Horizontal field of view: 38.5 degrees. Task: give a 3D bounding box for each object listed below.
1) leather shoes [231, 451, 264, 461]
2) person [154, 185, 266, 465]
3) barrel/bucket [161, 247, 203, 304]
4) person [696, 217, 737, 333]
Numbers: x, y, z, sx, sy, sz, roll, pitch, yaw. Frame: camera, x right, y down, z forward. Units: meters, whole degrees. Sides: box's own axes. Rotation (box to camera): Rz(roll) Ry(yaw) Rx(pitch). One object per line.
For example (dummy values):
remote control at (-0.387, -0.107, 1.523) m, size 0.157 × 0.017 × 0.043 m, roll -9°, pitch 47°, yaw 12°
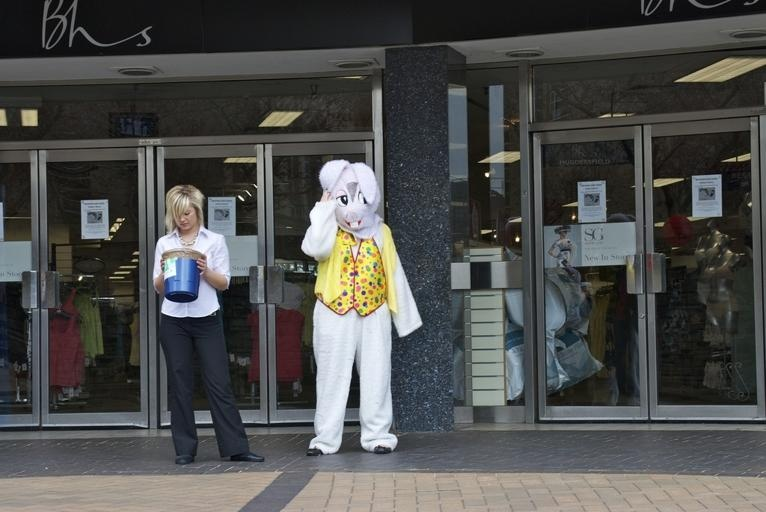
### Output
leather shoes at (-1.238, 1.852, 10.203) m, size 0.328 × 0.107 × 0.110 m, roll -1°, pitch -4°, yaw 1°
person at (-1.649, 0.647, 10.184) m, size 0.859 × 2.558 × 0.628 m, roll -3°, pitch 7°, yaw -10°
barrel/bucket at (-1.742, 0.175, 9.905) m, size 0.462 × 0.423 × 0.424 m, roll -2°, pitch -21°, yaw -1°
person at (3.556, 0.223, 11.671) m, size 0.390 × 1.172 × 0.143 m, roll 1°, pitch 7°, yaw 15°
